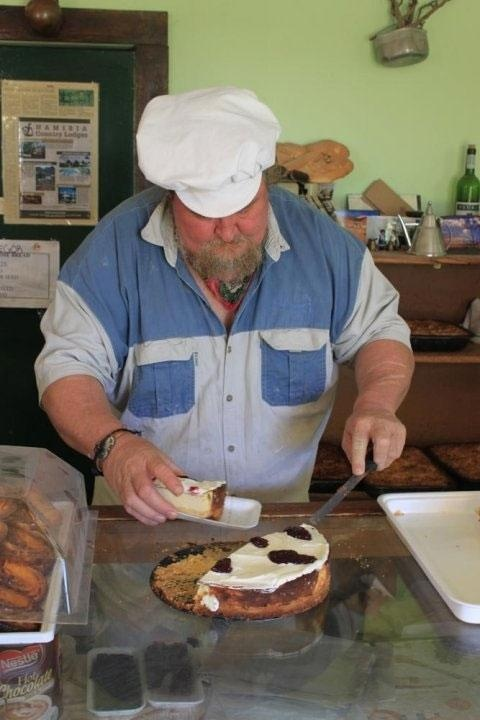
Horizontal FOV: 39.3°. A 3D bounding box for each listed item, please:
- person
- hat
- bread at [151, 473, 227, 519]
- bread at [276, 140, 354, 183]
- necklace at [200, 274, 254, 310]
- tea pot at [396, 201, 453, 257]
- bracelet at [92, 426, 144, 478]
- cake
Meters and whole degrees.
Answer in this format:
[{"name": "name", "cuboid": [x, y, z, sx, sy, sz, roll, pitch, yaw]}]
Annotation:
[{"name": "person", "cuboid": [-0.024, 0.125, 1.815, 0.969, 1.522, 0.852, -12, 45, -18]}, {"name": "hat", "cuboid": [-0.064, -0.428, 1.382, 0.287, 0.256, 0.225, -2, 17, 3]}, {"name": "bread", "cuboid": [-0.102, 0.261, 1.333, 0.128, 0.041, 0.076, 7, 25, 17]}, {"name": "bread", "cuboid": [0.302, -0.774, 2.608, 0.300, 0.166, 0.071, -1, -15, -5]}, {"name": "necklace", "cuboid": [-0.031, -0.168, 1.664, 0.075, 0.041, 0.091, 2, -26, 3]}, {"name": "tea pot", "cuboid": [0.688, -0.493, 2.536, 0.197, 0.184, 0.136, 0, 18, -5]}, {"name": "bracelet", "cuboid": [-0.256, 0.189, 1.385, 0.106, 0.079, 0.042, -12, 37, -33]}, {"name": "cake", "cuboid": [0.052, 0.364, 1.208, 0.219, 0.060, 0.269, 0, 17, 8]}]
